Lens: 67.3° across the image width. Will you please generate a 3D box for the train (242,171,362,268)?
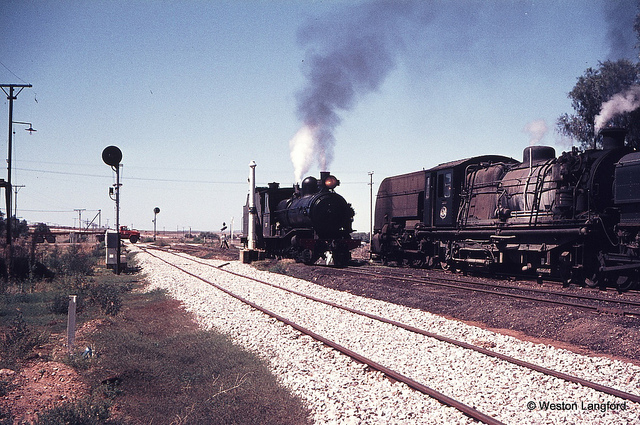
[{"bbox_3d":[-1.836,0.535,33.095,3.481,5.649,12.997,2,-2,-26],"label":"train"}]
